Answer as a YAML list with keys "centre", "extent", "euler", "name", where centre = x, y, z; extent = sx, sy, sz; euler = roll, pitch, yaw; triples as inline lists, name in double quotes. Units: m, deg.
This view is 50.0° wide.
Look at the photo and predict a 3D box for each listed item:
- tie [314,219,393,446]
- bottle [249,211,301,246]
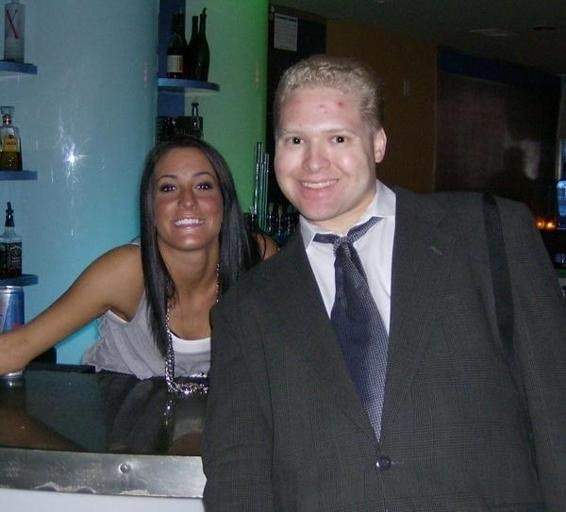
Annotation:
- centre: [0.150, 0.133, 1.229]
  extent: [0.094, 0.406, 0.019]
  euler: [-13, -35, 11]
  name: "tie"
- centre: [-0.048, -0.175, 3.717]
  extent: [0.226, 0.273, 0.254]
  euler: [-1, 5, 4]
  name: "bottle"
